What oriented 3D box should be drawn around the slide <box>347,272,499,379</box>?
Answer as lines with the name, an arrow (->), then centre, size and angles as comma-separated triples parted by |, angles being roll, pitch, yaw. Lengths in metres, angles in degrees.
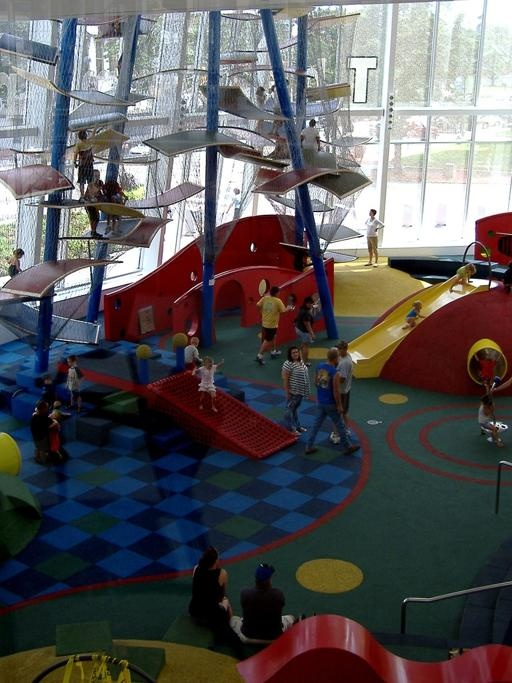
slide -> 3.188, -0.357, 12.087 | 3.844, 0.727, 1.822 | -30, 24, -28

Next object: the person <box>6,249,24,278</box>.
person -> -4.020, -1.312, 9.054 | 0.240, 0.498, 0.706 | -9, 16, -26

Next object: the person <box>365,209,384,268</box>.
person -> 4.258, -3.767, 19.648 | 0.543, 1.984, 1.341 | 2, 15, 12

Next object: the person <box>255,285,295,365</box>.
person -> 0.397, -0.477, 12.501 | 0.797, 1.705, 1.435 | -1, 15, 3

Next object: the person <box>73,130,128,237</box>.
person -> -2.229, -2.204, 7.636 | 0.640, 1.447, 1.086 | -9, 17, -27
